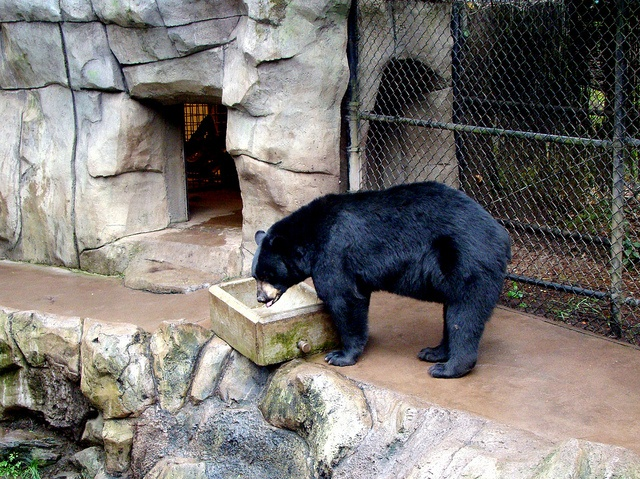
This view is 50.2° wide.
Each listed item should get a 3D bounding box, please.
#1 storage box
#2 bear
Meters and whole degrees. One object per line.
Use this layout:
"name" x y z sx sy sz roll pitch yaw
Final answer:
"storage box" -0.413 0.617 5.636 0.763 0.386 0.965 -12 22 -35
"bear" 0.528 0.196 5.080 2.221 1.782 0.977 -1 8 16
